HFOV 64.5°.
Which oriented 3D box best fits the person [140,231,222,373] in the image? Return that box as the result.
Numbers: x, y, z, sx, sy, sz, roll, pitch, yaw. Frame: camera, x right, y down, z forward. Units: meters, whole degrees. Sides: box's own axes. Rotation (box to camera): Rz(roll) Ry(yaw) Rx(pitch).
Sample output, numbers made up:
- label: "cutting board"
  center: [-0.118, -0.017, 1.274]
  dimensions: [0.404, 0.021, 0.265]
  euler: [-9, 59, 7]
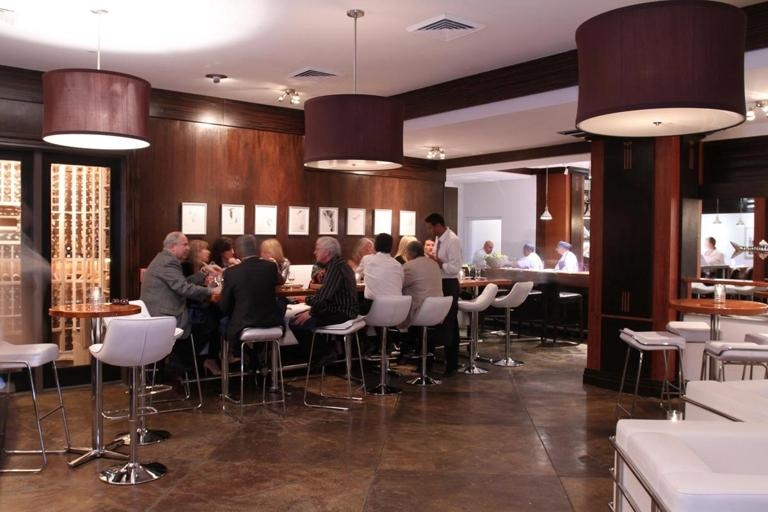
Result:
- label: "person"
  center: [-2.259, 0.480, 6.757]
  dimensions: [0.894, 1.415, 0.663]
  euler: [-1, 9, -24]

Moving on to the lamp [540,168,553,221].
- label: "lamp"
  center: [3.770, -1.407, 14.090]
  dimensions: [0.310, 1.255, 1.251]
  euler: [2, 7, 14]

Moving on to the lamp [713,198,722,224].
- label: "lamp"
  center: [4.117, -0.535, 7.496]
  dimensions: [0.096, 0.295, 0.028]
  euler: [-1, 7, -9]

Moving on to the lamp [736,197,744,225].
- label: "lamp"
  center: [4.369, -0.521, 7.435]
  dimensions: [0.081, 0.312, 0.060]
  euler: [2, 7, 15]

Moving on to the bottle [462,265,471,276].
- label: "bottle"
  center: [1.314, 0.235, 9.798]
  dimensions: [0.163, 0.150, 0.086]
  euler: [-2, 28, -1]

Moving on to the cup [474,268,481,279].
- label: "cup"
  center: [1.451, 0.260, 9.450]
  dimensions: [0.123, 0.210, 0.121]
  euler: [-1, 3, 0]

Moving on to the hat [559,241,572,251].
- label: "hat"
  center: [3.800, -0.217, 12.799]
  dimensions: [0.207, 0.185, 0.207]
  euler: [8, -6, 29]

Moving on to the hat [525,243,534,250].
- label: "hat"
  center: [3.237, -0.212, 13.606]
  dimensions: [0.199, 0.111, 0.196]
  euler: [5, -5, -36]
